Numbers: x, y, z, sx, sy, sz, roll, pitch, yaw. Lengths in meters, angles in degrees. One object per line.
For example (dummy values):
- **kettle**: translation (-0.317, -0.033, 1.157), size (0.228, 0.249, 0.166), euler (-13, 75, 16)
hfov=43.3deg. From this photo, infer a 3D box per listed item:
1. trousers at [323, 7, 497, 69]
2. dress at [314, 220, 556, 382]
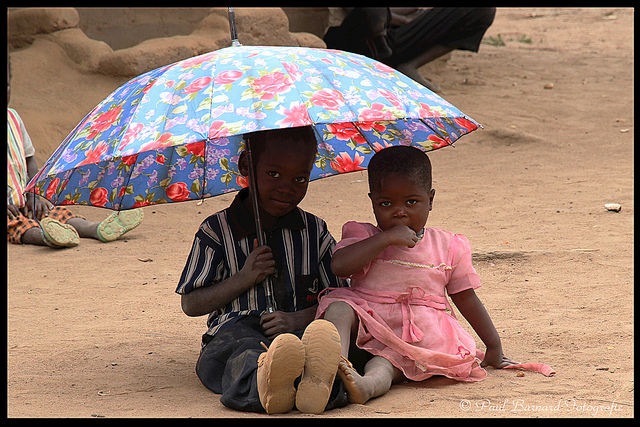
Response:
- **trousers**: translation (1.524, -3.076, 13.834), size (2.770, 0.814, 1.866), euler (3, 8, 6)
- **dress**: translation (0.856, 0.703, 6.104), size (1.651, 1.144, 0.691), euler (0, -3, -2)
